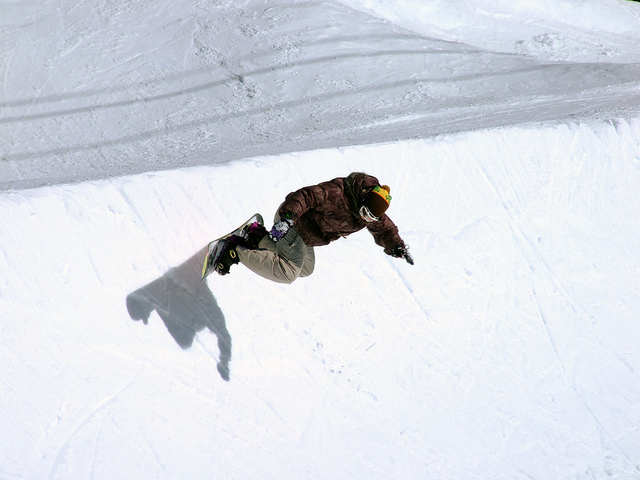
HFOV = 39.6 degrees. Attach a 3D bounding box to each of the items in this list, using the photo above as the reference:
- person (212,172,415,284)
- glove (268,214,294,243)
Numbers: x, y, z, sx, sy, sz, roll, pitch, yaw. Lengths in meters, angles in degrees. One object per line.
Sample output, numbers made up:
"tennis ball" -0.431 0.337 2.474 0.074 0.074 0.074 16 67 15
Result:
"person" -0.221 -0.084 12.853 2.614 1.356 0.806 -11 16 16
"glove" -0.540 -0.163 12.542 0.274 0.118 0.504 26 50 14
